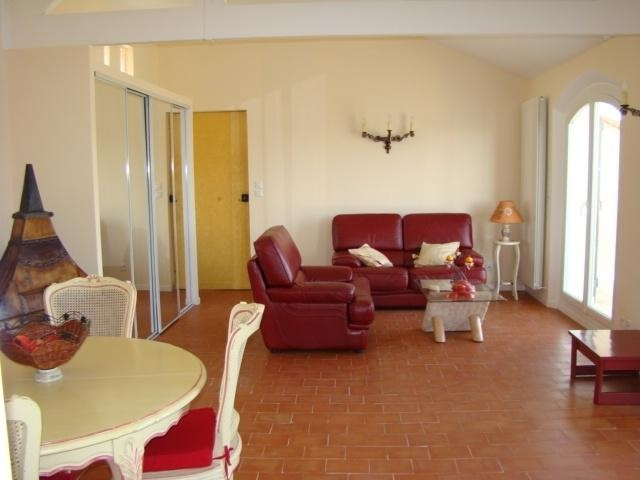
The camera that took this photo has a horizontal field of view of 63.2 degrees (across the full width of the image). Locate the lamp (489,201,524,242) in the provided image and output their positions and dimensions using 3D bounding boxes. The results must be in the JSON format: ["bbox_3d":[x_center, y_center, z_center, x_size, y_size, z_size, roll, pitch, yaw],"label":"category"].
[{"bbox_3d":[2.414,-0.256,6.722,0.430,0.582,0.435,-7,10,-18],"label":"lamp"}]

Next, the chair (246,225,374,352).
[{"bbox_3d":[-0.103,0.451,5.104,1.146,1.096,0.880,-1,13,-1],"label":"chair"}]

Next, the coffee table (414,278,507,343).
[{"bbox_3d":[1.382,0.730,5.208,0.710,0.523,0.753,0,12,4],"label":"coffee table"}]

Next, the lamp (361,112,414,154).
[{"bbox_3d":[0.897,-1.371,6.858,0.675,0.529,0.172,-1,37,0],"label":"lamp"}]

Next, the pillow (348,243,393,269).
[{"bbox_3d":[0.622,0.212,6.314,0.333,0.097,0.309,7,25,-42],"label":"pillow"}]

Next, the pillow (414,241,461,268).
[{"bbox_3d":[1.406,0.184,6.352,0.527,0.253,0.544,3,12,18],"label":"pillow"}]
